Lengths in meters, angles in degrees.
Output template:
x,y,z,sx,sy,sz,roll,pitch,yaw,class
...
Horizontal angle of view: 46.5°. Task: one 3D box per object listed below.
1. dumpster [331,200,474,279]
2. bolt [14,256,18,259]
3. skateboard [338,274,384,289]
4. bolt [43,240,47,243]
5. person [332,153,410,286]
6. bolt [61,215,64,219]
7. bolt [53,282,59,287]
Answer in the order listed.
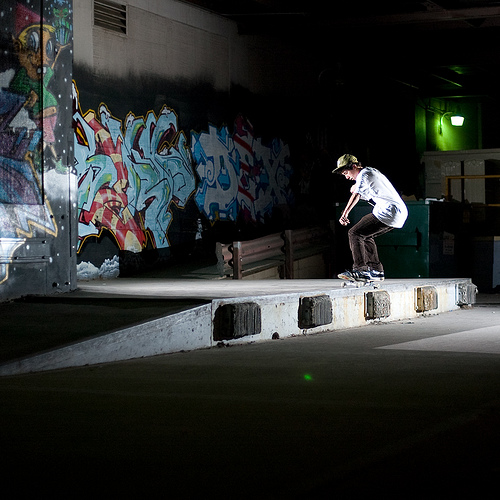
x,y,z,sx,sy,sz,roll,pitch,yaw,class
4.337,-0.135,15.367,2.512,1.917,2.557,-4,-5,40,dumpster
-3.629,0.118,8.895,0.037,0.031,0.021,0,2,-23,bolt
1.827,0.548,10.046,0.568,0.193,0.354,4,-5,-32,skateboard
-3.331,-0.133,9.318,0.008,0.040,0.055,-2,-3,42,bolt
2.153,-0.567,10.415,1.194,2.435,0.992,-9,-15,36,person
-3.145,-0.540,9.619,0.004,0.059,0.058,-2,-3,38,bolt
-3.184,0.558,9.410,0.006,0.072,0.096,-2,-3,44,bolt
